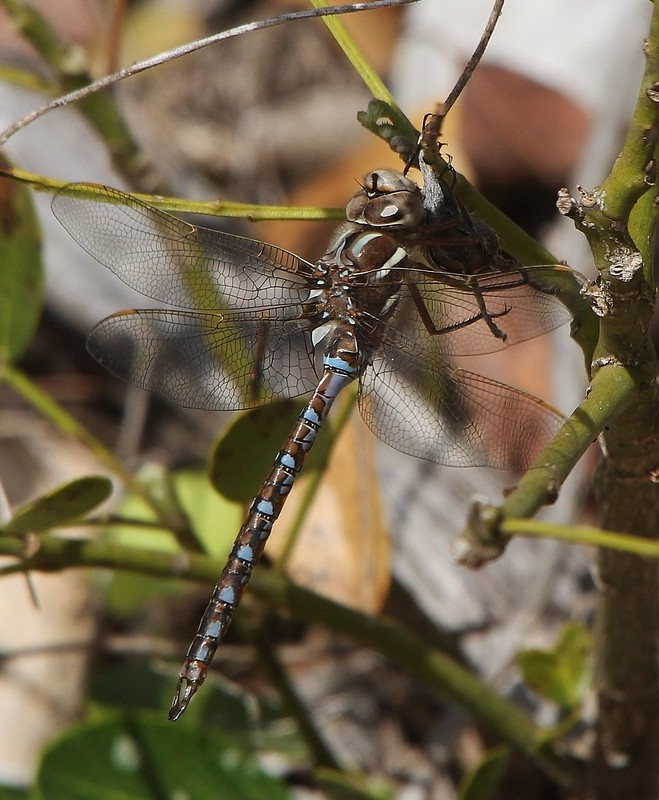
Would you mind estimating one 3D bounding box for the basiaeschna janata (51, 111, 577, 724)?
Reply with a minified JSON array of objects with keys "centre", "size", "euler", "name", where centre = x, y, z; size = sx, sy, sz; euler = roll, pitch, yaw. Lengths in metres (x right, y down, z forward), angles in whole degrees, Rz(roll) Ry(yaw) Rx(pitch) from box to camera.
[{"centre":[-0.027,-0.020,0.930],"size":[0.406,0.502,0.346],"euler":[-4,22,-23],"name":"basiaeschna janata"}]
